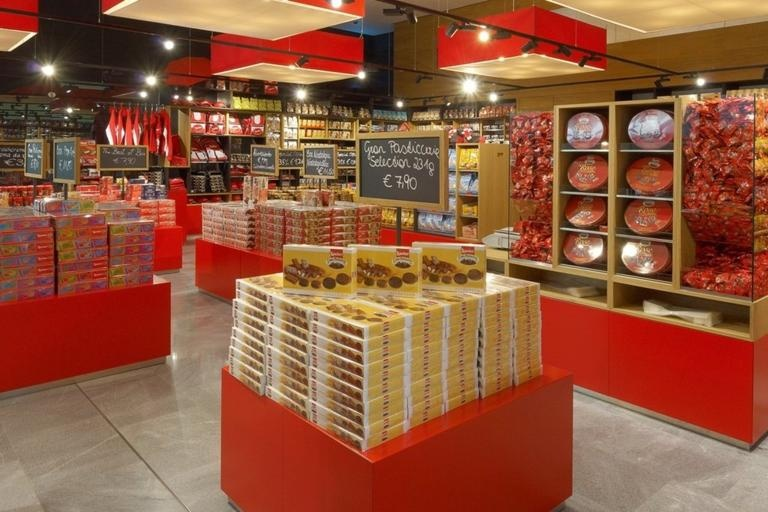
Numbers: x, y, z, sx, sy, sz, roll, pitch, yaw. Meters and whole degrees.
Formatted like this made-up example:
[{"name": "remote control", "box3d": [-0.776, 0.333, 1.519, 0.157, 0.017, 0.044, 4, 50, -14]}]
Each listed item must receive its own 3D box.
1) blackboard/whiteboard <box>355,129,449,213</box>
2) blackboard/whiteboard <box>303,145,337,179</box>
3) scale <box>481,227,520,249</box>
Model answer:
[{"name": "blackboard/whiteboard", "box3d": [0.042, -0.660, 4.160, 0.877, 0.566, 0.060, 5, 15, 32]}, {"name": "blackboard/whiteboard", "box3d": [-1.136, -1.597, 9.105, 0.076, 0.534, 0.816, 8, 11, 35]}, {"name": "scale", "box3d": [1.381, -0.190, 6.047, 0.298, 0.128, 0.376, -2, 6, -27]}]
